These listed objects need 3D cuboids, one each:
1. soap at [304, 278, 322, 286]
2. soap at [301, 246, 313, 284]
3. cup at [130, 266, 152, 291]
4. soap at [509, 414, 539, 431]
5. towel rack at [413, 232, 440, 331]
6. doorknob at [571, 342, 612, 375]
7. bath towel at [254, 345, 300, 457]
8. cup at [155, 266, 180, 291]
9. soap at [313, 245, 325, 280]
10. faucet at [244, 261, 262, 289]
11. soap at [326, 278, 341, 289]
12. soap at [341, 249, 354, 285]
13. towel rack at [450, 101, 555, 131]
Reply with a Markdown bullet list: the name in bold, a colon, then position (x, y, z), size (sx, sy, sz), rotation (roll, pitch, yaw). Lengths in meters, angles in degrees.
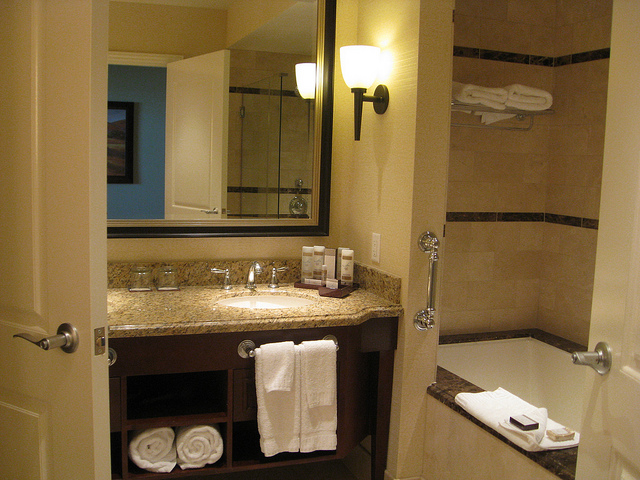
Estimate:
- **soap**: position (-0.032, 0.219, 2.794), size (0.101, 0.030, 0.064), rotation (-1, 9, 11)
- **soap**: position (-0.064, 0.131, 2.829), size (0.061, 0.182, 0.061), rotation (-3, 10, 1)
- **cup**: position (-0.875, 0.193, 2.647), size (0.118, 0.124, 0.117), rotation (1, -2, 0)
- **soap**: position (0.815, 0.726, 2.141), size (0.075, 0.031, 0.097), rotation (-7, 9, -27)
- **towel rack**: position (0.492, 0.205, 2.453), size (0.094, 0.428, 0.120), rotation (-2, 8, -30)
- **doorknob**: position (0.786, 0.337, 1.592), size (0.095, 0.109, 0.107), rotation (2, -3, -6)
- **bath towel**: position (-0.175, 0.703, 2.314), size (0.215, 0.445, 0.082), rotation (1, -8, -31)
- **cup**: position (-0.757, 0.199, 2.694), size (0.125, 0.135, 0.121), rotation (2, 8, 0)
- **soap**: position (-0.005, 0.122, 2.824), size (0.068, 0.167, 0.061), rotation (-3, 10, -1)
- **faucet**: position (-0.343, 0.181, 2.794), size (0.086, 0.127, 0.133), rotation (-3, 9, -1)
- **soap**: position (0.071, 0.223, 2.771), size (0.074, 0.048, 0.120), rotation (-2, 8, 2)
- **soap**: position (0.141, 0.137, 2.801), size (0.061, 0.179, 0.085), rotation (-2, 9, 5)
- **towel rack**: position (0.926, -0.624, 2.907), size (0.580, 0.190, 0.313), rotation (4, 9, -15)
